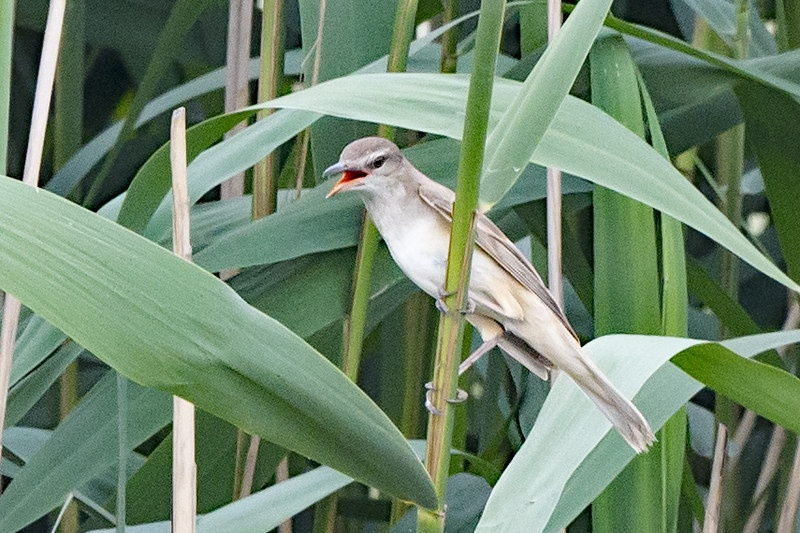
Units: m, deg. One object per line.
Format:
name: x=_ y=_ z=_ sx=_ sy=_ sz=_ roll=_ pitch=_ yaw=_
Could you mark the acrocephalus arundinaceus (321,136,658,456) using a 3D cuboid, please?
acrocephalus arundinaceus: x=0.131 y=0.051 z=1.978 sx=0.233 sy=0.493 sz=0.510 roll=-37 pitch=-60 yaw=24
